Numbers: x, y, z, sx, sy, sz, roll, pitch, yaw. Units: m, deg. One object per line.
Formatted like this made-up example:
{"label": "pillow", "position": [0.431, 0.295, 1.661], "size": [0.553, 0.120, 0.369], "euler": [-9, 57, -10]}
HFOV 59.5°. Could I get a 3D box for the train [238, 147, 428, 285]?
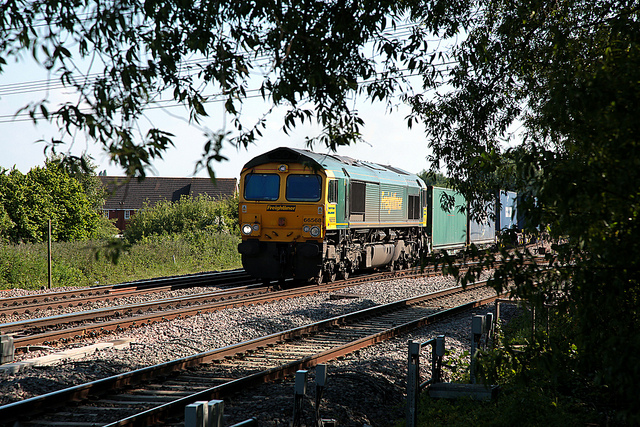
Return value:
{"label": "train", "position": [1.472, -0.096, 22.554], "size": [3.139, 4.320, 11.398], "euler": [1, 1, 30]}
